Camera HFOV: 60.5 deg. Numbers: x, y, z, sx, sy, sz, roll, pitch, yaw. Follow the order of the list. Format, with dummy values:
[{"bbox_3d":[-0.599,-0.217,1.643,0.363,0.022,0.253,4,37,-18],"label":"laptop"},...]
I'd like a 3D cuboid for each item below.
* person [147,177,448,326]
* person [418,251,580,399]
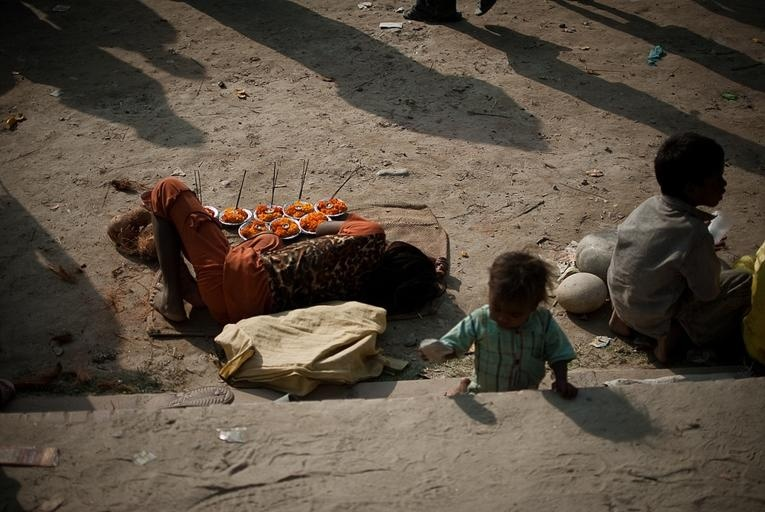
[{"bbox_3d":[-1.191,-0.020,6.326,3.486,0.787,1.120,8,13,-15],"label":"person"},{"bbox_3d":[0.923,0.623,5.055,1.158,1.377,0.622,2,39,3],"label":"person"}]
